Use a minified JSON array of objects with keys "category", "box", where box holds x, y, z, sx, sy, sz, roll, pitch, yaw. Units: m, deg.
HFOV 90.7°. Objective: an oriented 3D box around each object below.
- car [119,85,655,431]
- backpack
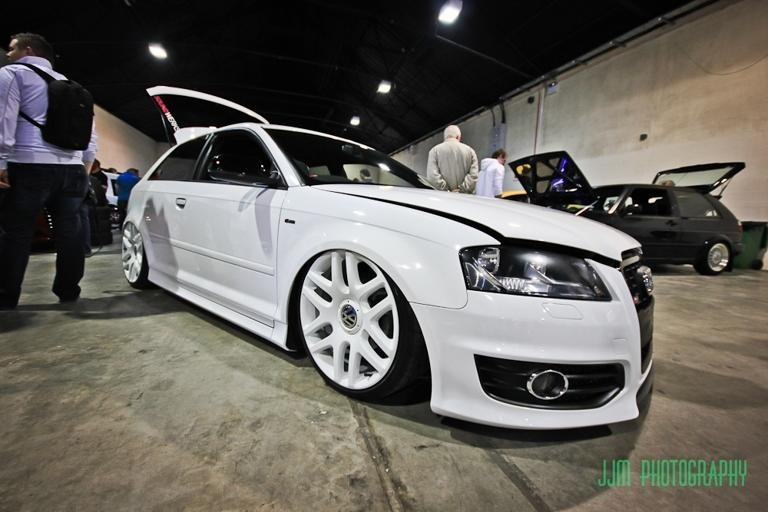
[{"category":"car","box":[-0.297,0.176,3.269,4.099,1.965,1.894,6,5,39]},{"category":"backpack","box":[-2.773,-1.242,3.258,0.649,0.702,0.450,11,10,5]}]
